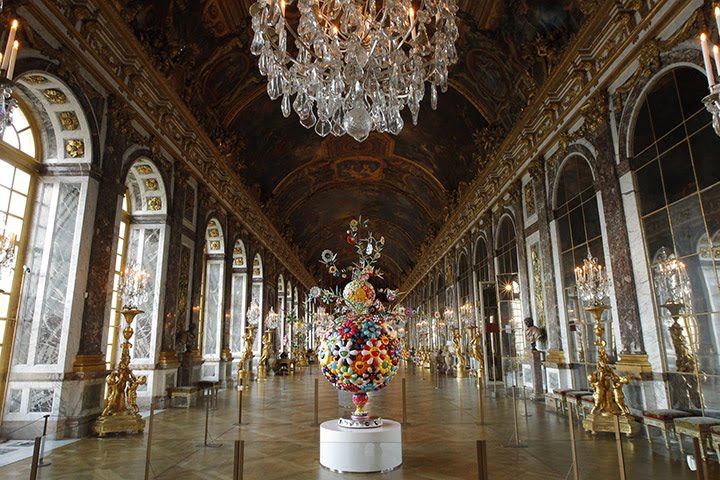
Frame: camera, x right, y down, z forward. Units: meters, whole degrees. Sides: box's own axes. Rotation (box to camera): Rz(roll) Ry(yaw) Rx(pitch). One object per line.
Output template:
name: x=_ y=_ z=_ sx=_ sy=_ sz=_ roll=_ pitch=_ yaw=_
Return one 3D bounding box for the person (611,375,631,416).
person: x=5.528 y=3.263 z=8.722 sx=0.314 sy=0.774 sz=0.376 roll=-14 pitch=-22 yaw=38

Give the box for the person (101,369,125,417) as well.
person: x=-5.580 y=3.475 z=9.489 sx=0.391 sy=0.975 sz=0.260 roll=-1 pitch=-17 yaw=2

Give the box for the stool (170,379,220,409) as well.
stool: x=-5.042 y=4.802 z=13.020 sx=1.227 sy=0.724 sz=1.512 roll=-2 pitch=-18 yaw=5

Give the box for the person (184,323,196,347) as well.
person: x=-5.698 y=3.210 z=14.011 sx=0.309 sy=0.946 sz=0.718 roll=-2 pitch=-7 yaw=-6

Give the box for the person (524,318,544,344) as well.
person: x=5.639 y=2.899 z=13.359 sx=0.381 sy=0.771 sz=0.731 roll=-7 pitch=-17 yaw=15

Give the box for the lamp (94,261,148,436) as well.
lamp: x=-5.292 y=2.487 z=9.636 sx=0.904 sy=3.747 sz=0.977 roll=10 pitch=-20 yaw=-31
